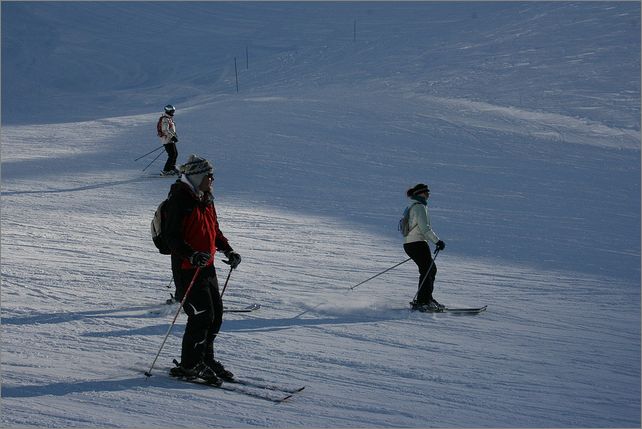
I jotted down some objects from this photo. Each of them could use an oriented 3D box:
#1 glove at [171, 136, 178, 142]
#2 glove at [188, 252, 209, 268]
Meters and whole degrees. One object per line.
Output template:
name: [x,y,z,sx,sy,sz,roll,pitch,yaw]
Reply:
glove: [-7.263,-3.754,57.032,0.231,0.302,0.378,4,10,3]
glove: [-5.130,1.942,48.837,0.873,0.588,0.209,2,12,-5]
